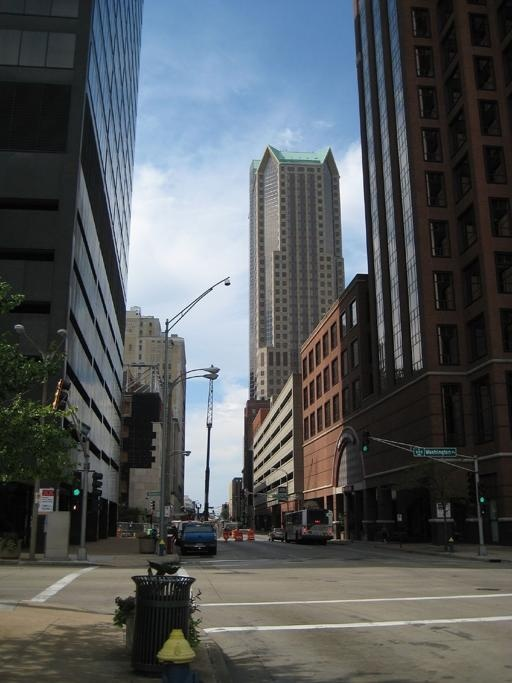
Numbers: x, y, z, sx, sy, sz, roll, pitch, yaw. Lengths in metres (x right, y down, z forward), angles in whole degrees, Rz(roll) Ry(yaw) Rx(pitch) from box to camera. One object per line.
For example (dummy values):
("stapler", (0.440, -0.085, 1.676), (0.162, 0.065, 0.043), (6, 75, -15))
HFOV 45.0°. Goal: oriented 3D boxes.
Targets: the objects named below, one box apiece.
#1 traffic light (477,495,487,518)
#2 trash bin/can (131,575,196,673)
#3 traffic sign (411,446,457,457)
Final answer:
("traffic light", (12.391, 8.976, 34.012), (0.282, 0.951, 0.768), (-10, -18, 33))
("trash bin/can", (-0.914, 2.652, 5.848), (0.597, 0.812, 0.373), (0, -15, 0))
("traffic sign", (10.988, 6.848, 38.304), (1.529, 0.383, 1.447), (1, -13, -4))
